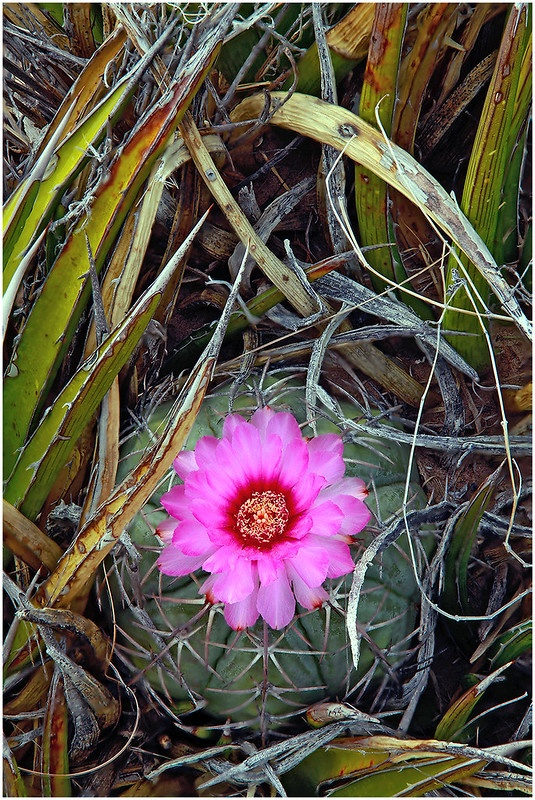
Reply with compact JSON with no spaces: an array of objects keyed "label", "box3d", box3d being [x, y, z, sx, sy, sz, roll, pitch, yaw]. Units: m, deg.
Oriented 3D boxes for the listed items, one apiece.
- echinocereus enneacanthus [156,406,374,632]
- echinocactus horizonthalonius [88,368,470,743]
[{"label":"echinocereus enneacanthus","box3d":[-0.001,0.116,0.604,0.174,0.177,0.166,10,49,21]},{"label":"echinocactus horizonthalonius","box3d":[-0.018,0.060,0.700,0.272,0.172,0.269,-5,6,-29]}]
